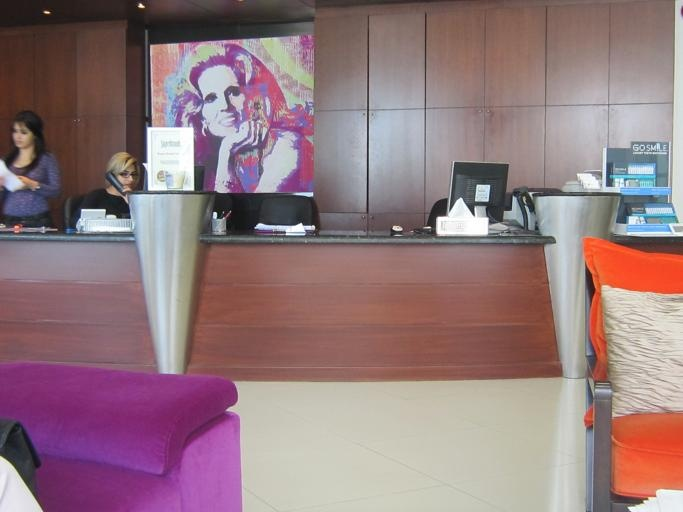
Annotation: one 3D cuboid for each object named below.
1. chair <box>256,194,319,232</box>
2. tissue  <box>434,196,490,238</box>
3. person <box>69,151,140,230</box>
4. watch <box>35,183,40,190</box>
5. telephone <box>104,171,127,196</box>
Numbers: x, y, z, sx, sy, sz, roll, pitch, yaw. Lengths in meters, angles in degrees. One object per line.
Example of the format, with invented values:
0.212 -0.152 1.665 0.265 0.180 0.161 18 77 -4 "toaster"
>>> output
-0.494 -0.409 5.713 0.403 0.549 0.444 0 -1 3 "chair"
0.810 -0.240 4.300 0.279 0.215 0.276 -1 -3 25 "tissue "
-1.808 -0.427 5.064 0.411 0.748 0.490 9 3 38 "person"
-2.366 -0.546 4.957 0.030 0.047 0.042 -4 8 -26 "watch"
-1.727 -0.559 4.882 0.104 0.090 0.342 -32 40 -16 "telephone"
